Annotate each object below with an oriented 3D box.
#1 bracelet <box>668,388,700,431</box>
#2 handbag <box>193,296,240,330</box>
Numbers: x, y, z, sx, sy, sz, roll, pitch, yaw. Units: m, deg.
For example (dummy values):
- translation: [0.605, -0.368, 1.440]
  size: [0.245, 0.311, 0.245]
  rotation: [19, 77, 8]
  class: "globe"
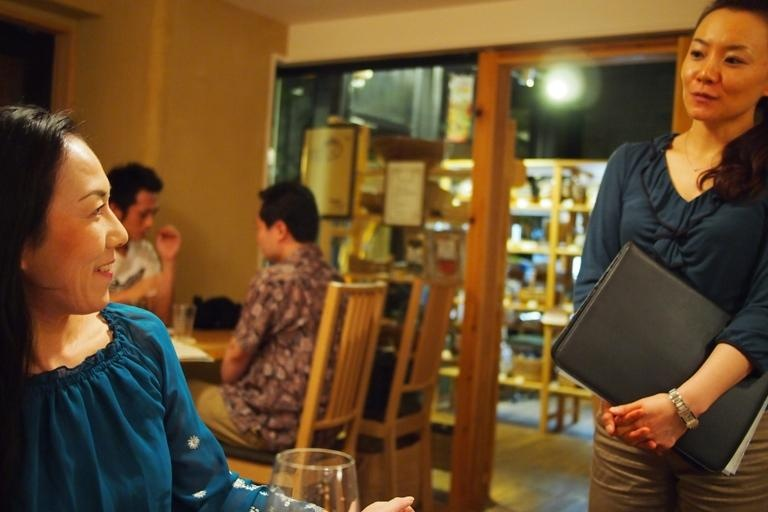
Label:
- translation: [0.589, 0.301, 1.307]
  size: [0.040, 0.059, 0.064]
  rotation: [-33, 3, 8]
  class: "bracelet"
- translation: [-0.445, 0.158, 1.830]
  size: [0.114, 0.099, 0.093]
  rotation: [4, -21, 8]
  class: "handbag"
